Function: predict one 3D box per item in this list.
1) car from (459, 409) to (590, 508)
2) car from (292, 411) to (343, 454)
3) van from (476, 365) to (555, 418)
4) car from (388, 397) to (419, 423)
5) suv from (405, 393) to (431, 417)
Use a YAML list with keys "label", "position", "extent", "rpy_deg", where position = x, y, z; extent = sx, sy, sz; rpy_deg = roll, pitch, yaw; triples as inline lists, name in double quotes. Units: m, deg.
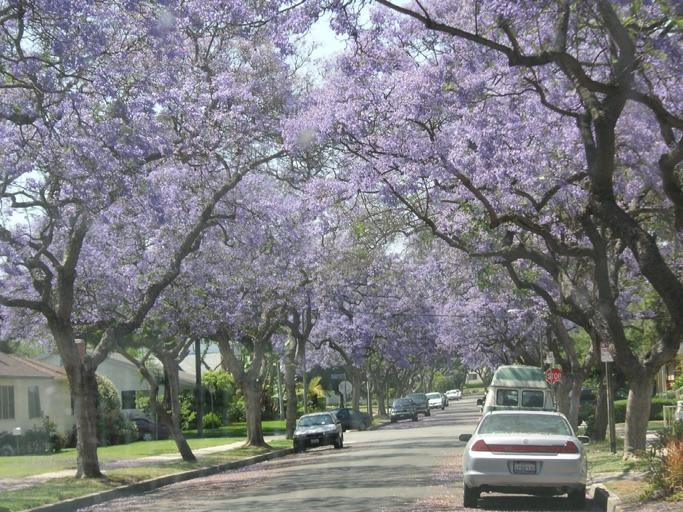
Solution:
- label: "car"
  position: [3.250, 3.767, 13.548]
  extent: [1.308, 1.023, 2.397]
  rpy_deg: [0, -3, 6]
- label: "car"
  position: [-1.081, 7.760, 33.281]
  extent: [2.134, 1.724, 2.356]
  rpy_deg: [-4, -14, -5]
- label: "van"
  position: [6.276, 4.875, 26.952]
  extent: [1.450, 1.771, 2.562]
  rpy_deg: [0, -3, 6]
- label: "car"
  position: [5.114, 12.727, 61.741]
  extent: [1.717, 1.980, 3.822]
  rpy_deg: [-3, -14, 6]
- label: "suv"
  position: [7.053, 13.393, 68.052]
  extent: [1.492, 1.724, 3.333]
  rpy_deg: [-2, -15, 6]
